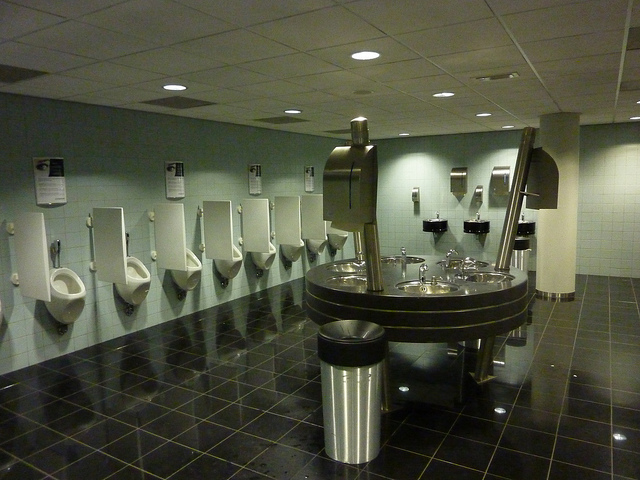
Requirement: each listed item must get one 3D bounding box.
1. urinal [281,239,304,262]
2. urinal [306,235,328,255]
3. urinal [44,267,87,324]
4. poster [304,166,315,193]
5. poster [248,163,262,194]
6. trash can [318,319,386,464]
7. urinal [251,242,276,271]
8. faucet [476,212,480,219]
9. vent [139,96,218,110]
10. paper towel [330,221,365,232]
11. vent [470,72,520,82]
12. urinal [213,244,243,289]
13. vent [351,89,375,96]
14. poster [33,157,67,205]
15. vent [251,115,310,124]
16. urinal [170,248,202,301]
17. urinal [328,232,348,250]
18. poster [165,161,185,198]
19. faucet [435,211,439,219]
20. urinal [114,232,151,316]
[{"bbox_3d":[-0.587,0.234,8.873,0.506,0.358,0.385,0,3,24],"label":"urinal"},{"bbox_3d":[-0.071,0.152,9.730,0.381,0.442,0.480,-2,13,0],"label":"urinal"},{"bbox_3d":[-3.122,0.662,5.571,0.542,0.503,0.448,33,22,29],"label":"urinal"},{"bbox_3d":[-0.231,-1.290,9.888,0.096,0.570,0.366,6,16,26],"label":"poster"},{"bbox_3d":[-1.195,-1.094,8.341,0.088,0.556,0.322,7,17,30],"label":"poster"},{"bbox_3d":[0.264,1.270,3.888,0.549,1.081,0.495,0,15,5],"label":"trash can"},{"bbox_3d":[-1.004,0.325,8.362,0.537,0.407,0.393,4,9,26],"label":"urinal"},{"bbox_3d":[3.459,-0.524,10.010,0.043,0.131,0.081,2,15,15],"label":"faucet"},{"bbox_3d":[-1.826,-1.758,5.943,0.767,0.084,0.667,7,14,33],"label":"vent"},{"bbox_3d":[0.268,-0.123,4.331,0.301,0.121,0.171,0,13,5],"label":"paper towel"},{"bbox_3d":[1.859,-1.708,4.858,0.441,0.046,0.273,6,14,28],"label":"vent"},{"bbox_3d":[-1.578,0.473,7.726,0.617,0.642,0.441,11,18,24],"label":"urinal"},{"bbox_3d":[0.518,-1.761,5.531,0.253,0.039,0.328,0,12,3],"label":"vent"},{"bbox_3d":[-3.282,-0.694,5.556,0.080,0.546,0.363,6,10,29],"label":"poster"},{"bbox_3d":[-0.645,-1.960,7.572,0.708,0.078,0.740,5,13,28],"label":"vent"},{"bbox_3d":[-1.947,0.557,6.954,0.422,0.778,0.438,8,17,32],"label":"urinal"},{"bbox_3d":[0.420,0.040,10.361,0.422,0.306,0.324,-2,2,19],"label":"urinal"},{"bbox_3d":[-2.204,-0.905,6.907,0.085,0.538,0.354,9,17,34],"label":"poster"},{"bbox_3d":[2.673,-0.572,10.478,0.073,0.159,0.247,1,13,9],"label":"faucet"},{"bbox_3d":[-2.504,0.496,6.221,0.452,1.142,0.496,4,16,19],"label":"urinal"}]
